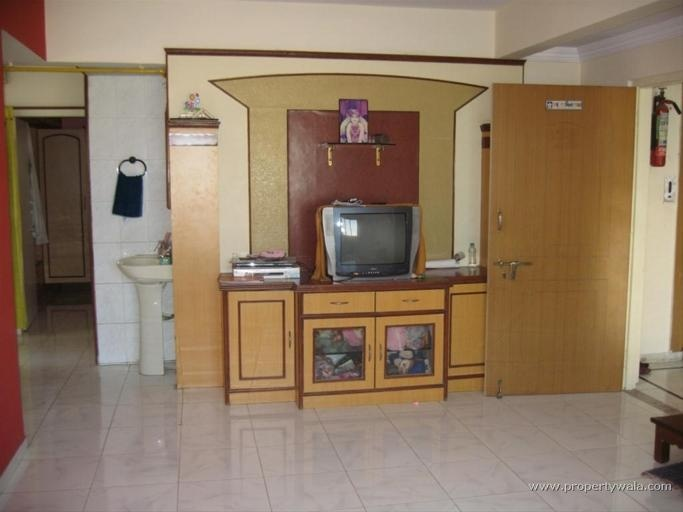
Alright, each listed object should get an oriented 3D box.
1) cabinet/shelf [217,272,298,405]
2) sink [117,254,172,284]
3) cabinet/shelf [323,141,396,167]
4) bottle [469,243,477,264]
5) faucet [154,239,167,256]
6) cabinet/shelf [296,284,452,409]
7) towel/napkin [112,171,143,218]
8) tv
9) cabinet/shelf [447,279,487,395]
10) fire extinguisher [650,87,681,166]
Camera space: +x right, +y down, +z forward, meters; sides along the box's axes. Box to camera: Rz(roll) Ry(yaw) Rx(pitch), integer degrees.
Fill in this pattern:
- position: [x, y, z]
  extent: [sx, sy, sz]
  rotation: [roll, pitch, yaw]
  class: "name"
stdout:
- position: [-0.623, 0.755, 5.327]
  extent: [0.791, 1.008, 0.784]
  rotation: [-1, -5, -9]
  class: "cabinet/shelf"
- position: [-1.803, 0.135, 5.567]
  extent: [0.410, 0.158, 0.314]
  rotation: [2, 18, -20]
  class: "sink"
- position: [0.158, -0.925, 5.524]
  extent: [0.671, 0.220, 0.128]
  rotation: [-1, 15, -3]
  class: "cabinet/shelf"
- position: [1.239, -0.027, 5.724]
  extent: [0.087, 0.200, 0.151]
  rotation: [3, 15, 9]
  class: "bottle"
- position: [-1.729, -0.088, 5.800]
  extent: [0.116, 0.211, 0.116]
  rotation: [-6, -12, 7]
  class: "faucet"
- position: [0.211, 0.753, 5.273]
  extent: [1.347, 0.988, 0.507]
  rotation: [0, -1, -17]
  class: "cabinet/shelf"
- position: [-2.042, -0.584, 5.820]
  extent: [0.306, 0.407, 0.098]
  rotation: [0, 6, -12]
  class: "towel/napkin"
- position: [0.215, -0.111, 5.286]
  extent: [0.861, 0.625, 0.433]
  rotation: [-2, 6, -15]
  class: "tv"
- position: [1.099, 0.710, 5.324]
  extent: [0.332, 0.957, 0.188]
  rotation: [0, 15, 0]
  class: "cabinet/shelf"
- position: [3.076, -1.227, 5.844]
  extent: [0.296, 0.749, 0.218]
  rotation: [1, 15, 2]
  class: "fire extinguisher"
